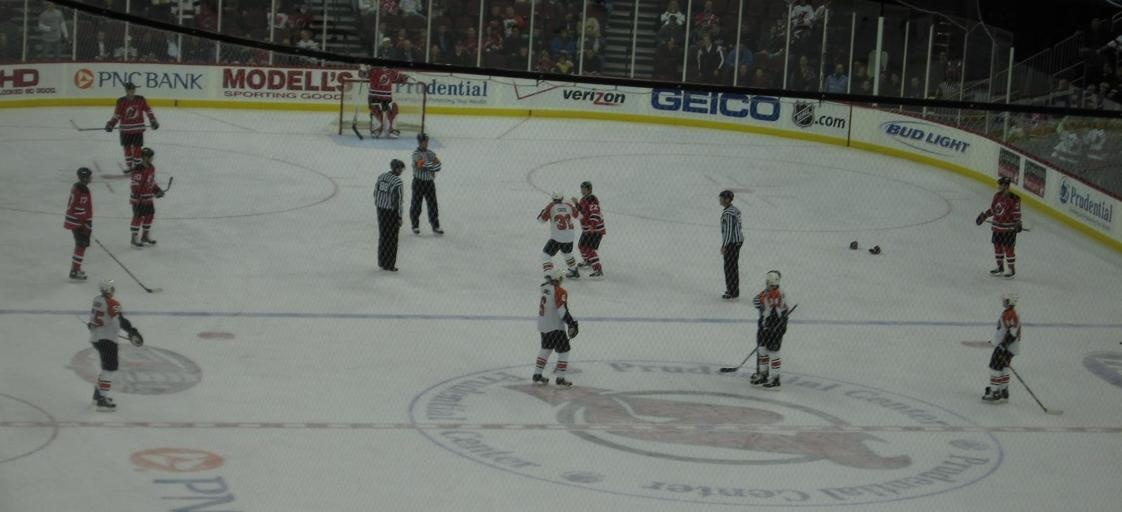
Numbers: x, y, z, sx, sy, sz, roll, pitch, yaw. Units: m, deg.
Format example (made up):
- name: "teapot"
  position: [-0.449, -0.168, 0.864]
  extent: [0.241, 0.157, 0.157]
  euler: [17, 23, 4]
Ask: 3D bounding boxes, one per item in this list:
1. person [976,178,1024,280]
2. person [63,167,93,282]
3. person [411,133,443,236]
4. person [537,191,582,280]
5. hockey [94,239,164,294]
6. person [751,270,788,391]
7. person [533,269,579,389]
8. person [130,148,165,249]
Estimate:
- name: "person"
  position: [13.039, -0.818, 40.394]
  extent: [1.187, 2.837, 1.416]
  euler: [-1, 5, -31]
- name: "person"
  position: [-13.465, -0.910, 38.095]
  extent: [0.669, 3.087, 1.238]
  euler: [-2, 20, -19]
- name: "person"
  position: [-3.971, -2.142, 40.920]
  extent: [1.011, 3.061, 0.796]
  euler: [9, 19, 13]
- name: "person"
  position: [-0.164, -0.560, 39.060]
  extent: [1.558, 2.374, 1.238]
  euler: [-6, 10, -35]
- name: "hockey"
  position: [-12.174, 0.362, 38.307]
  extent: [0.302, 1.911, 0.594]
  euler: [-41, 9, -5]
- name: "person"
  position: [5.411, 1.872, 35.369]
  extent: [0.955, 2.965, 0.902]
  euler: [7, 19, 7]
- name: "person"
  position: [-0.121, 1.827, 35.116]
  extent: [1.018, 2.959, 0.983]
  euler: [4, 19, -1]
- name: "person"
  position: [-12.071, -1.711, 39.686]
  extent: [1.165, 2.714, 1.473]
  euler: [4, 9, 20]
